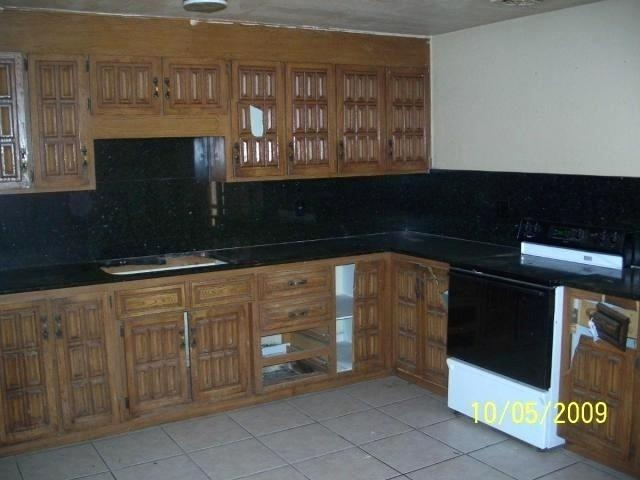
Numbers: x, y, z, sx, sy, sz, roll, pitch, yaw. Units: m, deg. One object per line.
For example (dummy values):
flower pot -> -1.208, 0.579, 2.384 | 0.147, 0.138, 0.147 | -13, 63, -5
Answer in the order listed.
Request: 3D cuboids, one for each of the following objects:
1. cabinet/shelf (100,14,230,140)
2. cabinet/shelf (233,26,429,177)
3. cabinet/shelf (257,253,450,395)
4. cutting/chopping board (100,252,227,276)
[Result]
cabinet/shelf -> -1.163, -1.217, 3.738 | 0.959, 0.714, 0.390 | -5, 12, -29
cabinet/shelf -> 0.033, -1.192, 4.311 | 1.476, 0.780, 0.495 | -4, 7, -25
cabinet/shelf -> 0.208, 0.654, 4.152 | 1.270, 0.858, 1.230 | -4, 5, -31
cutting/chopping board -> -1.270, 0.192, 4.018 | 0.565, 0.101, 0.322 | -6, 15, -29
